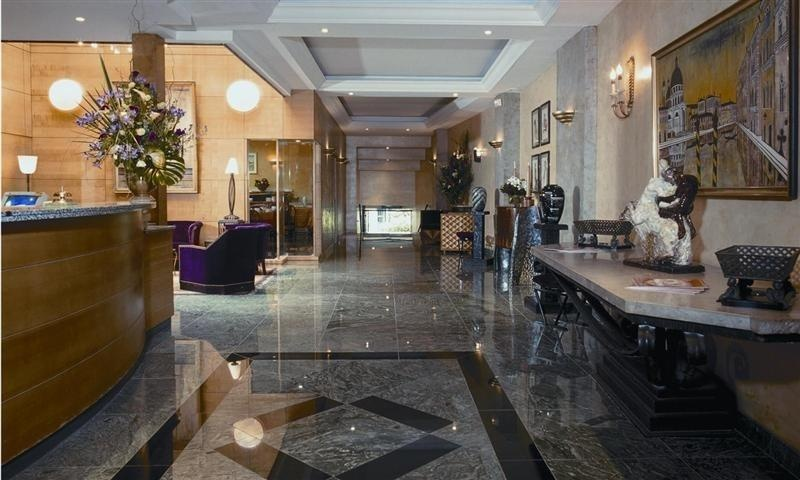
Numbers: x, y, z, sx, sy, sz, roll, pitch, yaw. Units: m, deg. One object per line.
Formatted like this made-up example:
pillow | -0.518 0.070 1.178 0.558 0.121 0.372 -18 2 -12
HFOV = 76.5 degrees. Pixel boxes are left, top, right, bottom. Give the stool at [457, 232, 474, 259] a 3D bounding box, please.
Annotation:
stool | 1.634 0.060 12.492 0.543 0.712 0.533 0 -6 0

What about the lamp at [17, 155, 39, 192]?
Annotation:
lamp | -7.101 -1.283 9.755 0.338 0.756 1.145 -11 18 -34

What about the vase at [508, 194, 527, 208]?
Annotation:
vase | 2.295 -0.760 9.831 0.350 0.316 0.339 2 0 -24

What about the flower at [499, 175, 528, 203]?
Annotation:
flower | 2.180 -0.967 10.105 0.618 0.572 0.602 1 -6 1

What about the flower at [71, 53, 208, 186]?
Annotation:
flower | -3.239 -1.306 6.311 1.061 1.178 1.044 23 30 21

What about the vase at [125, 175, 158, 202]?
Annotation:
vase | -3.179 -0.636 6.327 0.367 0.385 0.369 5 6 31

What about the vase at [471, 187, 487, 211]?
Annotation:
vase | 1.768 -0.902 11.307 0.280 0.524 0.515 1 15 3

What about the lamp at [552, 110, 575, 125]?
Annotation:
lamp | 2.662 -1.933 8.083 0.272 0.117 0.266 0 1 -45

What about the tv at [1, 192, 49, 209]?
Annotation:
tv | -4.704 -0.497 6.355 0.395 0.312 0.363 0 12 -14

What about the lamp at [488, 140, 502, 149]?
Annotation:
lamp | 2.278 -2.265 11.931 0.227 0.107 0.302 -2 3 -7

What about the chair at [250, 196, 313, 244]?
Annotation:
chair | -2.599 -0.489 11.201 1.132 0.731 1.101 1 5 -1

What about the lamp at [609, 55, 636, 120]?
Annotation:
lamp | 2.872 -1.984 6.618 0.254 0.789 0.446 1 15 5

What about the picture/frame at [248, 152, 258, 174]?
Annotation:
picture/frame | -3.160 -1.661 10.879 0.186 0.441 0.121 -4 16 -14

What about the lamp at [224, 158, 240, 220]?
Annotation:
lamp | -3.499 -1.093 10.574 0.273 1.215 0.724 -4 15 -13

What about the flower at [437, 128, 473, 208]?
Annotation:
flower | 1.704 -2.134 15.225 0.830 2.091 0.952 -1 15 -3

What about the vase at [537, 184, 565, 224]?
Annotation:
vase | 2.206 -0.522 7.358 0.309 0.530 0.309 2 15 8
